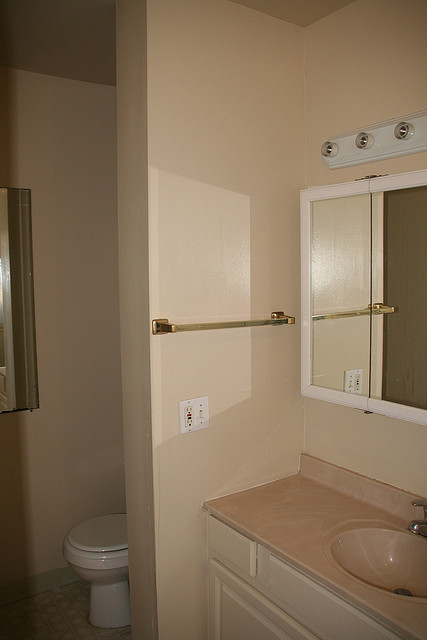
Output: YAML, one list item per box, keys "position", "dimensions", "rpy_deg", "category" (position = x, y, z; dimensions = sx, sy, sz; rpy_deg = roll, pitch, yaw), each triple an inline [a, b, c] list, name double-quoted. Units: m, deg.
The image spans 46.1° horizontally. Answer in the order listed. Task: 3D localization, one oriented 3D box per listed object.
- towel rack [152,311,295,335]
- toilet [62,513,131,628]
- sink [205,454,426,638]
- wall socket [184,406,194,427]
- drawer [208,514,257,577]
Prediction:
- position: [0.054, 0.003, 1.494]
  dimensions: [0.518, 0.042, 0.079]
  rpy_deg: [-4, 4, -39]
  category: "towel rack"
- position: [-0.432, 1.035, 2.015]
  dimensions: [0.305, 0.384, 0.386]
  rpy_deg: [0, -1, -14]
  category: "toilet"
- position: [0.334, 0.568, 1.327]
  dimensions: [0.435, 0.165, 0.723]
  rpy_deg: [-4, 4, -34]
  category: "sink"
- position: [-0.070, 0.277, 1.450]
  dimensions: [0.032, 0.055, 0.005]
  rpy_deg: [-3, 3, -41]
  category: "wall socket"
- position: [0.051, 0.610, 1.378]
  dimensions: [0.082, 0.072, 0.122]
  rpy_deg: [4, -3, -28]
  category: "drawer"
